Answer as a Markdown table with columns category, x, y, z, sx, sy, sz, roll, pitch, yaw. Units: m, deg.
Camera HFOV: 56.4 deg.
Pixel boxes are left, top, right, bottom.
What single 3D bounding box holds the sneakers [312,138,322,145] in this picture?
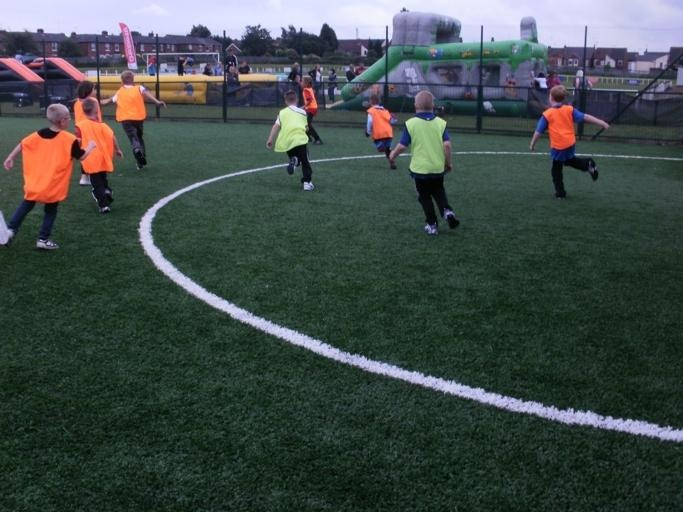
| category | x | y | z | sx | sy | sz | roll | pitch | yaw |
| --- | --- | --- | --- | --- | --- | --- | --- | --- | --- |
| sneakers | -0.634 | -2.986 | 16.545 | 0.156 | 0.173 | 0.411 | -3 | 5 | -15 |

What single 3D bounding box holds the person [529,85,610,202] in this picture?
| category | x | y | z | sx | sy | sz | roll | pitch | yaw |
| --- | --- | --- | --- | --- | --- | --- | --- | --- | --- |
| person | 3.401 | -1.735 | 9.704 | 0.910 | 1.650 | 1.205 | 7 | 21 | 19 |

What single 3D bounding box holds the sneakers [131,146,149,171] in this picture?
| category | x | y | z | sx | sy | sz | roll | pitch | yaw |
| --- | --- | --- | --- | --- | --- | --- | --- | --- | --- |
| sneakers | -3.665 | -1.800 | 11.638 | 0.192 | 0.235 | 0.507 | -25 | -15 | -17 |

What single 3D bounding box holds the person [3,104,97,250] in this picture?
| category | x | y | z | sx | sy | sz | roll | pitch | yaw |
| --- | --- | --- | --- | --- | --- | --- | --- | --- | --- |
| person | -3.078 | -0.838 | 6.691 | 0.944 | 1.404 | 0.553 | -10 | 21 | -26 |

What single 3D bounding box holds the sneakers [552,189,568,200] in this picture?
| category | x | y | z | sx | sy | sz | roll | pitch | yaw |
| --- | --- | --- | --- | --- | --- | --- | --- | --- | --- |
| sneakers | 3.263 | -0.933 | 9.500 | 0.174 | 0.169 | 0.105 | -4 | 15 | 5 |

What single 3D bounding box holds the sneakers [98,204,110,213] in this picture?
| category | x | y | z | sx | sy | sz | roll | pitch | yaw |
| --- | --- | --- | --- | --- | --- | --- | --- | --- | --- |
| sneakers | -3.082 | -0.619 | 8.252 | 0.071 | 0.066 | 0.155 | 0 | 8 | -40 |

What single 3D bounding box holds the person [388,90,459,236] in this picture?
| category | x | y | z | sx | sy | sz | roll | pitch | yaw |
| --- | --- | --- | --- | --- | --- | --- | --- | --- | --- |
| person | 1.009 | -1.092 | 7.442 | 0.887 | 1.591 | 0.667 | 8 | 21 | 22 |

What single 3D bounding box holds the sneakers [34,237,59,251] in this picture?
| category | x | y | z | sx | sy | sz | roll | pitch | yaw |
| --- | --- | --- | --- | --- | --- | --- | --- | --- | --- |
| sneakers | -3.082 | -0.125 | 6.649 | 0.244 | 0.109 | 0.095 | -3 | 11 | -33 |

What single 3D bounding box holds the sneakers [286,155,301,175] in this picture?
| category | x | y | z | sx | sy | sz | roll | pitch | yaw |
| --- | --- | --- | --- | --- | --- | --- | --- | --- | --- |
| sneakers | -0.810 | -1.407 | 10.145 | 0.158 | 0.422 | 0.173 | 34 | 61 | 1 |

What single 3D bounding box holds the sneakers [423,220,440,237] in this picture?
| category | x | y | z | sx | sy | sz | roll | pitch | yaw |
| --- | --- | --- | --- | --- | --- | --- | --- | --- | --- |
| sneakers | 1.052 | -0.334 | 7.480 | 0.163 | 0.182 | 0.442 | 2 | 7 | 2 |

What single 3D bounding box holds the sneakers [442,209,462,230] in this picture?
| category | x | y | z | sx | sy | sz | roll | pitch | yaw |
| --- | --- | --- | --- | --- | --- | --- | --- | --- | --- |
| sneakers | 1.237 | -0.423 | 7.265 | 0.156 | 0.223 | 0.164 | 2 | 19 | 5 |
